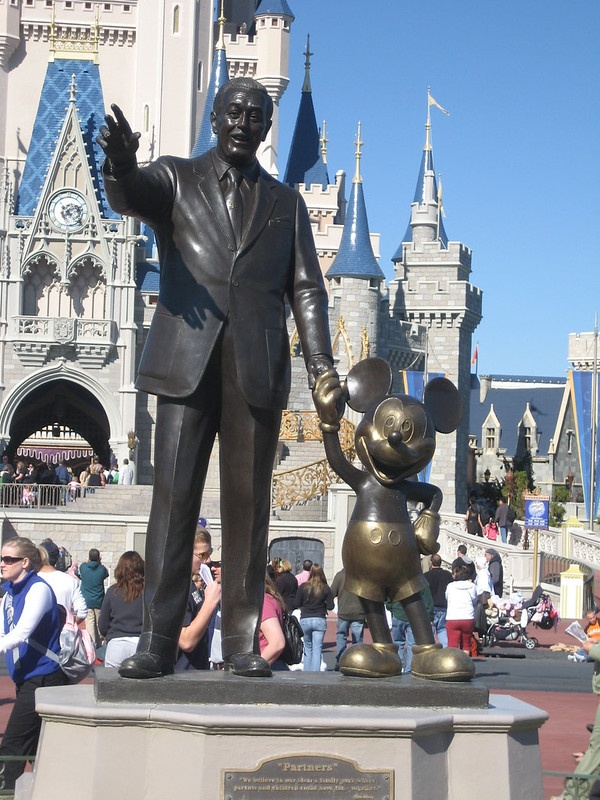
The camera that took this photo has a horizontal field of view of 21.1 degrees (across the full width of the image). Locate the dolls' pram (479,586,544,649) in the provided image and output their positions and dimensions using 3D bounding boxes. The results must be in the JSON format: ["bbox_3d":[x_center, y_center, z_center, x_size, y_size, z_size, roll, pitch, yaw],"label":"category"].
[{"bbox_3d":[2.150,2.238,16.865,0.575,0.692,0.493,2,13,13],"label":"dolls' pram"}]
